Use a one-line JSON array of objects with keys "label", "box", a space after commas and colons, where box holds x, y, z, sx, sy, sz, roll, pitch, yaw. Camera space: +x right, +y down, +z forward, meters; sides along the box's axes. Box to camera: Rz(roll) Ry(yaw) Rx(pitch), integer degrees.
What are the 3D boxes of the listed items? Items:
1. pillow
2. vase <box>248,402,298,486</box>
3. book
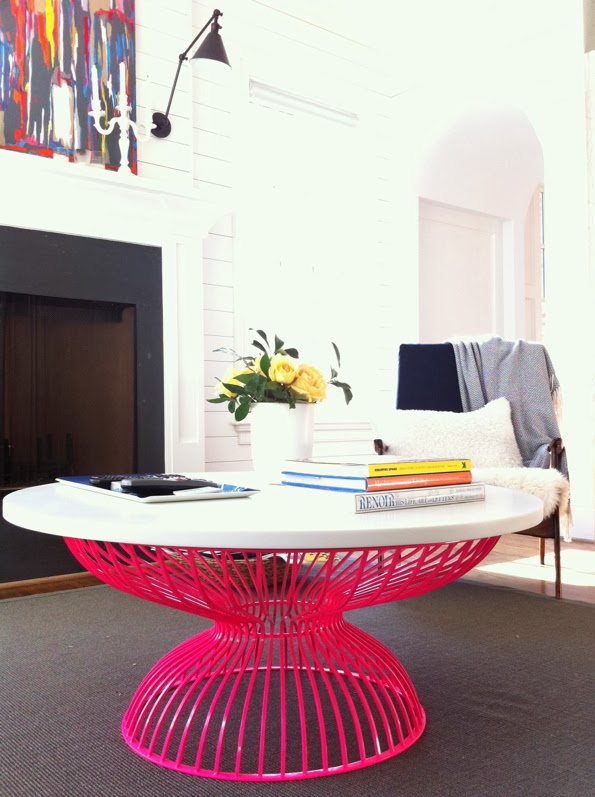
[{"label": "pillow", "box": [0.664, 0.142, 2.894, 0.543, 0.293, 0.273, -1, -4, 8]}, {"label": "vase", "box": [-0.093, 0.112, 1.789, 0.151, 0.215, 0.166, 0, -1, -10]}, {"label": "book", "box": [0.163, 0.142, 1.168, 0.303, 0.074, 0.390, 1, -4, -18]}]
